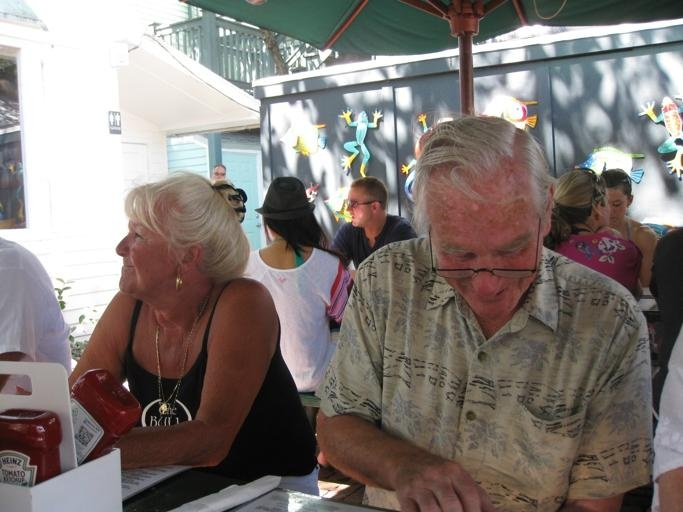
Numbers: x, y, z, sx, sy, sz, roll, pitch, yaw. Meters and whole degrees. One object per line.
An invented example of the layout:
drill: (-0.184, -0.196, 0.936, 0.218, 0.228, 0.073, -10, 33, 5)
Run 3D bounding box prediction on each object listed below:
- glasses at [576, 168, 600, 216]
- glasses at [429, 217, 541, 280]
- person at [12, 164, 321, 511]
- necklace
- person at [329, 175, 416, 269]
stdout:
glasses: (1.532, -0.421, 4.184, 0.089, 0.248, 0.181, 11, -11, -42)
glasses: (0.477, -0.020, 2.198, 0.345, 0.181, 0.140, -2, 7, 2)
person: (-0.922, 0.599, 3.766, 1.337, 2.479, 1.090, 14, -20, -42)
necklace: (-0.683, 0.435, 2.877, 0.240, 0.492, 0.269, -3, 7, -4)
person: (0.306, -0.321, 6.315, 0.734, 1.202, 0.890, -4, 7, -22)
